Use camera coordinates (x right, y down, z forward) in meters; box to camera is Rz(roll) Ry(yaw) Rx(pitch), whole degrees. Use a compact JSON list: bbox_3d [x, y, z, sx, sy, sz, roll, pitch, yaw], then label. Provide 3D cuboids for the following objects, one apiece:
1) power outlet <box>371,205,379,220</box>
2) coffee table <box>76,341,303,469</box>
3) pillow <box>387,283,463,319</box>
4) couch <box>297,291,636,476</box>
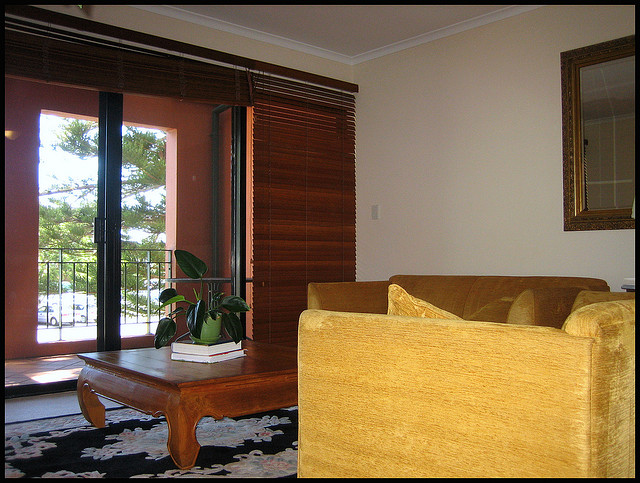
[{"bbox_3d":[0.536,-0.286,4.407,0.020,0.146,0.094,3,-5,-38],"label":"power outlet"},{"bbox_3d":[-0.666,0.855,2.631,0.997,0.339,1.066,-2,-5,36],"label":"coffee table"},{"bbox_3d":[0.315,0.187,1.383,0.174,0.104,0.063,17,-4,30],"label":"pillow"},{"bbox_3d":[0.425,0.384,1.329,0.679,0.624,0.677,0,2,-40],"label":"couch"}]
